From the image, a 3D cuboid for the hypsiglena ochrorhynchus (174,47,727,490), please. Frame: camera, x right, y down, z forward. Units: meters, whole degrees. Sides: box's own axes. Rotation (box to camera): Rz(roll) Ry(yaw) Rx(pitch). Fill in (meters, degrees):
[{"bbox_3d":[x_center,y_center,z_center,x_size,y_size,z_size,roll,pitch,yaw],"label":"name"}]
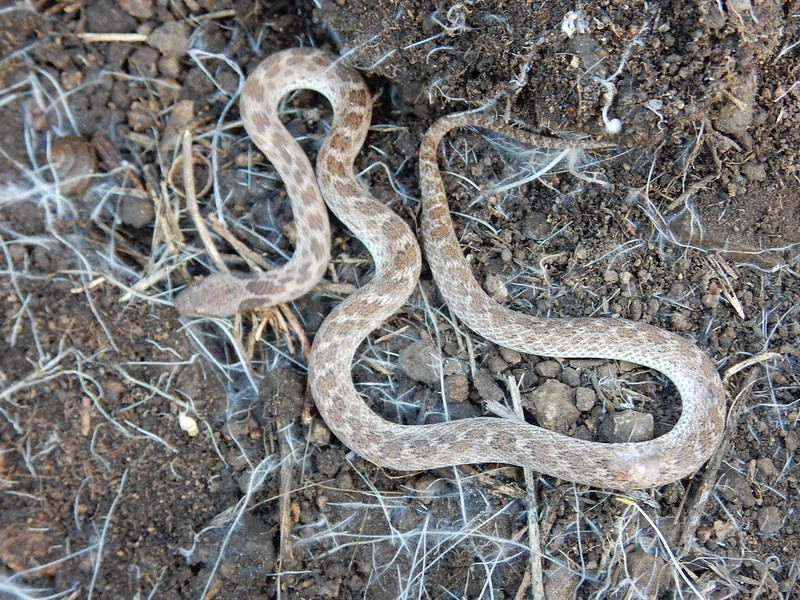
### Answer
[{"bbox_3d":[0.206,0.135,6.125,4.163,0.355,2.153,39,85,4],"label":"hypsiglena ochrorhynchus"}]
